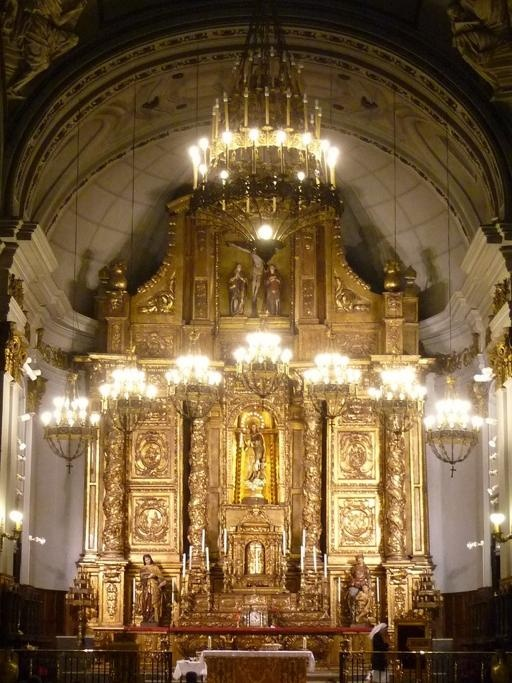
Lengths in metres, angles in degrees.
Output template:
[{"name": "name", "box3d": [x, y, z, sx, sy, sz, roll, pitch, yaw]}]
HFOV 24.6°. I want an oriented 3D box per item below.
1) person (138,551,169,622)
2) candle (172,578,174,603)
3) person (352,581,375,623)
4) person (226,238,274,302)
[{"name": "person", "box3d": [-1.845, 4.406, 20.684, 0.409, 1.227, 0.726, -7, -18, 18]}, {"name": "candle", "box3d": [-1.501, 4.487, 21.039, 0.057, 0.409, 0.102, 2, -17, -10]}, {"name": "person", "box3d": [1.880, 4.628, 20.575, 0.420, 0.697, 0.361, 1, -17, -9]}, {"name": "person", "box3d": [-0.005, -1.260, 22.879, 0.849, 0.746, 0.375, 1, -8, -20]}]
